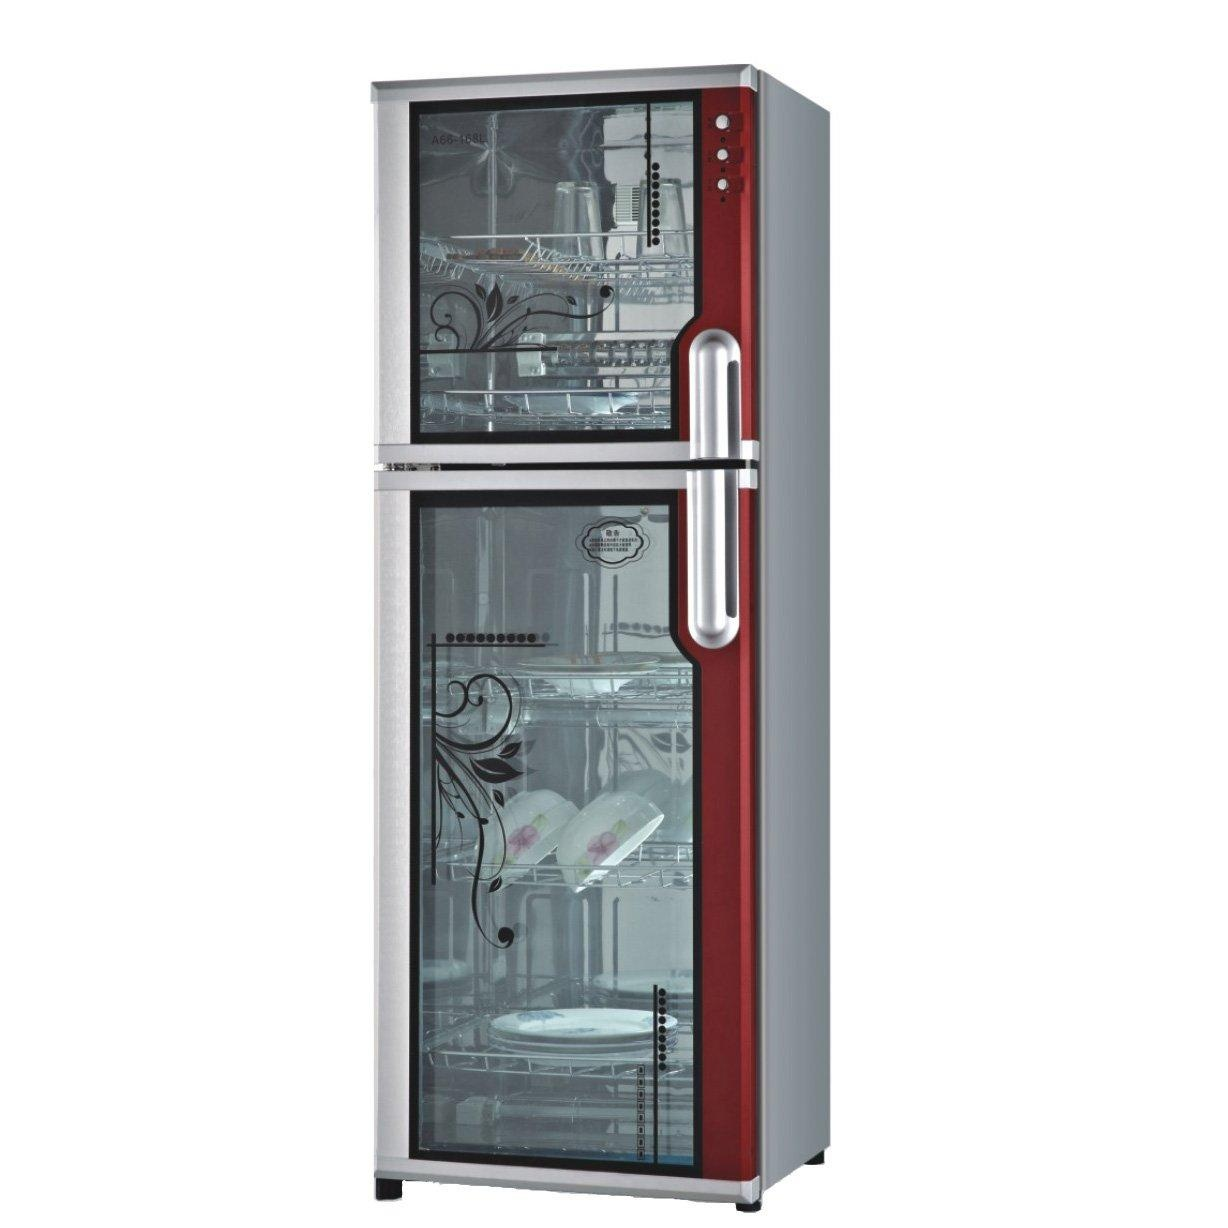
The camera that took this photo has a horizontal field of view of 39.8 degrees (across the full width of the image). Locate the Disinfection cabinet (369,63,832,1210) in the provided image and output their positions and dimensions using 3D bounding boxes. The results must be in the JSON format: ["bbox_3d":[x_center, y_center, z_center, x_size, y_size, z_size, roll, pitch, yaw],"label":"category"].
[{"bbox_3d":[-0.010,0.026,3.229,0.905,2.064,1.092,0,-25,-2],"label":"Disinfection cabinet"}]

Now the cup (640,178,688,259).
[{"bbox_3d":[0.097,-0.754,3.242,0.123,0.150,0.105,-4,21,3],"label":"cup"}]
